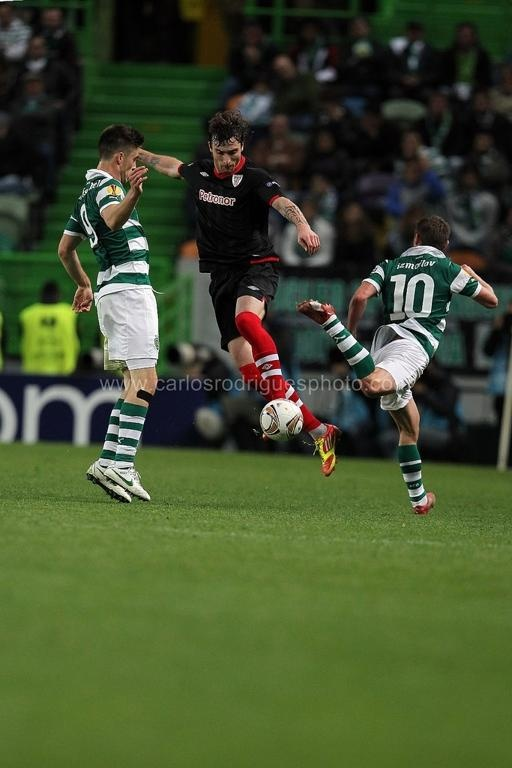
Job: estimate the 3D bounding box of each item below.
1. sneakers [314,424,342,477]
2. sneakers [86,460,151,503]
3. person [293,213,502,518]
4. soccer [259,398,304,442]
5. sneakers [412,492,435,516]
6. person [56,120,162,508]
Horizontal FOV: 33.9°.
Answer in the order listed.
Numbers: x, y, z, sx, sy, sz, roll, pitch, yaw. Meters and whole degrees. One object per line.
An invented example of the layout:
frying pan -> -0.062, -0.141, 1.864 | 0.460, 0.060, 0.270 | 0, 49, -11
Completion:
sneakers -> 0.419, 0.367, 4.784 | 0.167, 0.308, 0.111 | 6, -15, -13
sneakers -> -0.707, 0.498, 4.268 | 0.281, 0.129, 0.203 | 36, -17, -17
person -> 0.759, -0.060, 4.578 | 0.917, 1.689, 0.576 | -10, 17, -43
soccer -> 0.140, 0.196, 4.524 | 0.220, 0.234, 0.219 | 3, 12, 3
sneakers -> 0.937, 0.676, 4.685 | 0.092, 0.057, 0.153 | -2, 3, 28
person -> -0.764, -0.348, 4.405 | 0.484, 1.974, 0.917 | -1, 13, -14
